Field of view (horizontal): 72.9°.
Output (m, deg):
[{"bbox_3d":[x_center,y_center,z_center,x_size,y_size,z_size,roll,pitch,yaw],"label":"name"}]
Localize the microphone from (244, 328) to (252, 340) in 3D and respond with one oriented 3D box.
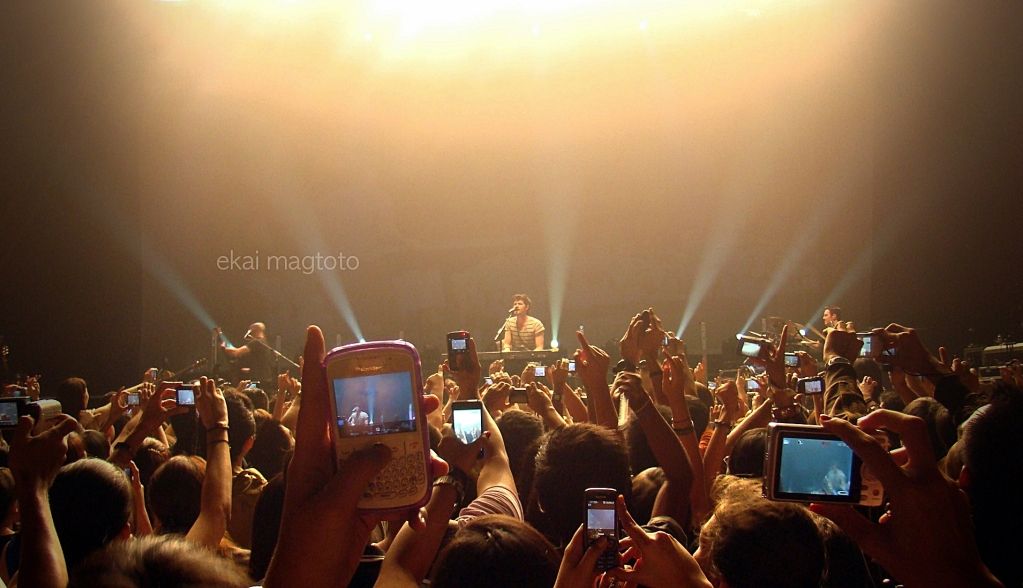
[{"bbox_3d":[-5.287,0.800,13.887,0.087,0.170,0.241,30,-16,-30],"label":"microphone"}]
